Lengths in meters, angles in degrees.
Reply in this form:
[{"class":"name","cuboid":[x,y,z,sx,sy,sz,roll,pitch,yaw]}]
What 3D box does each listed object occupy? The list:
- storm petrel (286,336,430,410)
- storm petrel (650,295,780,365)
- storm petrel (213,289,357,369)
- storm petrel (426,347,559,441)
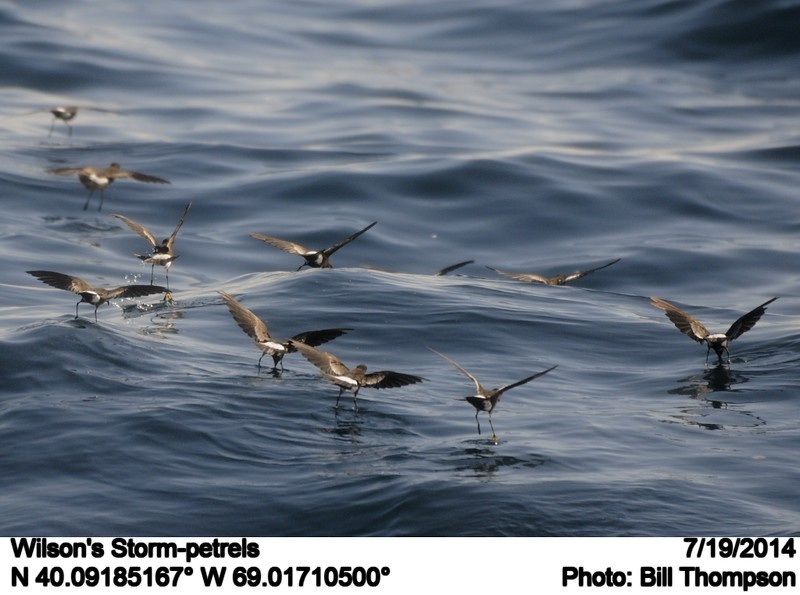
[{"class":"storm petrel","cuboid":[-0.898,1.277,18.733,2.187,0.994,1.984,0,3,-5]},{"class":"storm petrel","cuboid":[6.505,0.617,21.800,2.725,0.664,1.346,-3,13,9]},{"class":"storm petrel","cuboid":[-2.257,0.737,19.525,2.452,0.626,0.966,15,17,-6]},{"class":"storm petrel","cuboid":[1.480,1.819,18.548,2.597,1.439,2.381,-1,6,20]}]
